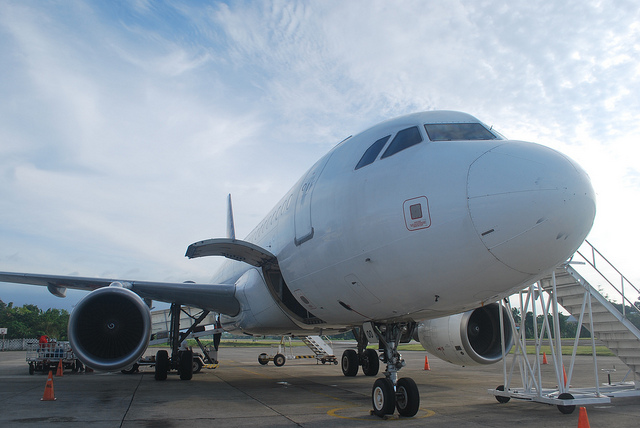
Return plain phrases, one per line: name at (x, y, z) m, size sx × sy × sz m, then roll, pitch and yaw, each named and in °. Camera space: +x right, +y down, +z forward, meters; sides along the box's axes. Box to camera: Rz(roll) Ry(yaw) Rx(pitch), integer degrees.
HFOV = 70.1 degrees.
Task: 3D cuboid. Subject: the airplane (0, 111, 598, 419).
airplane at (0.379, 2.428, 12.204) m, size 10.336 × 3.063 × 9.321 m, roll 4°, pitch -11°, yaw -26°
